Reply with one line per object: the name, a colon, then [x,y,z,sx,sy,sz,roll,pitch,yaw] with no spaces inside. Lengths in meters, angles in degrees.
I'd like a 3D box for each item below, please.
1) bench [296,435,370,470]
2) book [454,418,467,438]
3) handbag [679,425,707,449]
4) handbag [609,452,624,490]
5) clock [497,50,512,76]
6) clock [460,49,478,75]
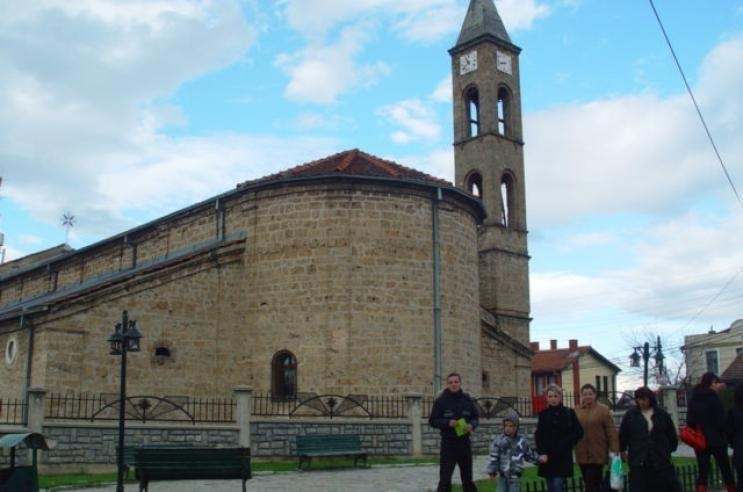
bench: [-1.299,6.439,26.559,2.172,1.210,2.168,0,-18,-5]
book: [2.043,4.183,19.355,0.298,0.388,0.309,-2,-18,1]
handbag: [7.540,4.485,19.726,0.542,0.591,0.342,-8,-19,19]
handbag: [5.484,5.069,18.935,0.330,0.745,0.421,-6,-19,14]
clock: [8.056,-11.188,51.477,0.157,1.198,1.774,-10,-13,40]
clock: [5.972,-11.234,51.488,0.223,1.532,1.605,22,-26,-39]
